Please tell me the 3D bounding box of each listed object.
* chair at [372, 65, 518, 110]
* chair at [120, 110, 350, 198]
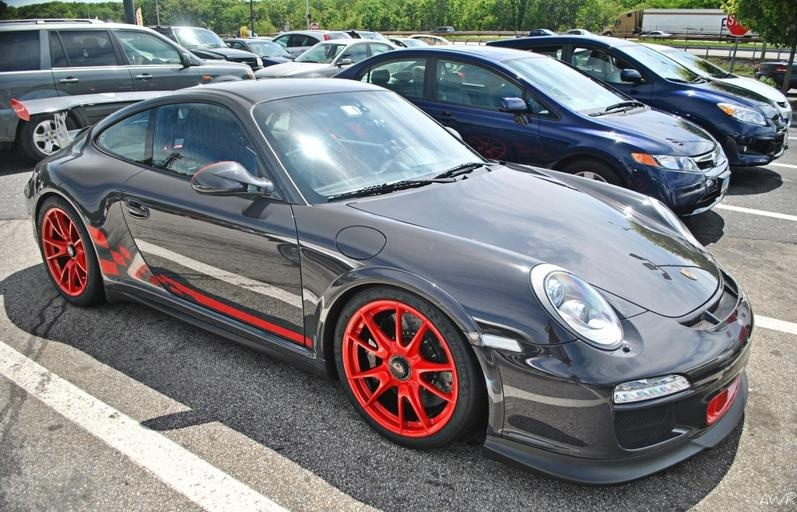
[{"bbox_3d":[0.724,-2.117,6.643,1.781,0.562,0.538,5,1,27],"label":"chair"},{"bbox_3d":[-1.322,-0.736,3.813,1.776,0.455,0.669,6,41,16],"label":"chair"}]
